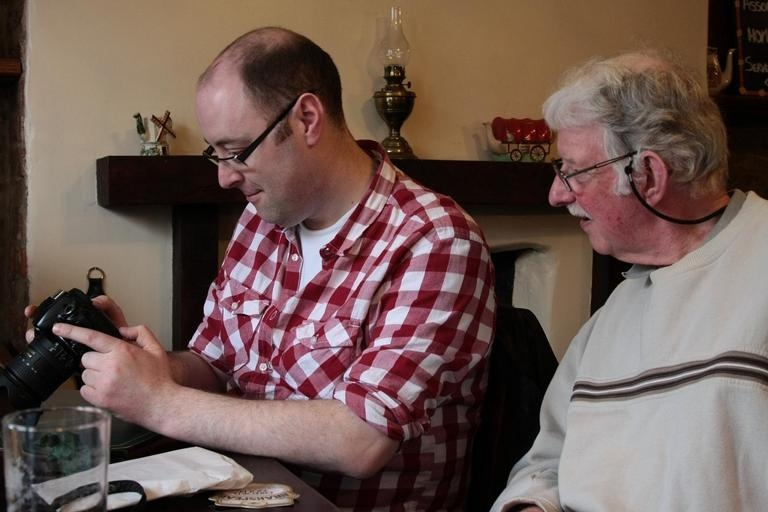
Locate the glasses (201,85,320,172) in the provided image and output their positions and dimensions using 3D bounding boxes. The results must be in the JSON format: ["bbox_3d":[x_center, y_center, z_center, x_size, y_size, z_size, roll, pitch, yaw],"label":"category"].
[{"bbox_3d":[-0.291,-0.279,1.596,0.054,0.202,0.194,44,-6,-21],"label":"glasses"}]

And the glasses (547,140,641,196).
[{"bbox_3d":[0.440,-0.186,1.408,0.111,0.031,0.107,-22,0,-2],"label":"glasses"}]
